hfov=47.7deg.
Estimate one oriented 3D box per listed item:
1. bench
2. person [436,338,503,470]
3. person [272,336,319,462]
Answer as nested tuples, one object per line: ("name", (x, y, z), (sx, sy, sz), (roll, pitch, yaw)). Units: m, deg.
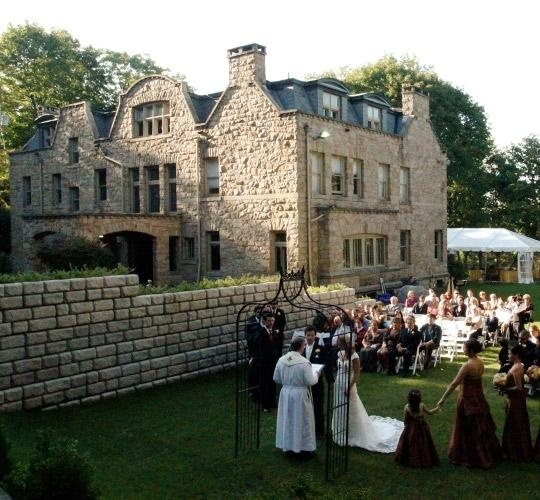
("bench", (4.605, 2.586, 16.385), (1.591, 1.034, 3.151), (-1, -1, 25))
("person", (3.511, 2.619, 10.645), (0.963, 2.045, 1.155), (-4, 7, -34))
("person", (0.448, 2.529, 10.759), (0.747, 1.963, 0.548), (0, 7, 5))
